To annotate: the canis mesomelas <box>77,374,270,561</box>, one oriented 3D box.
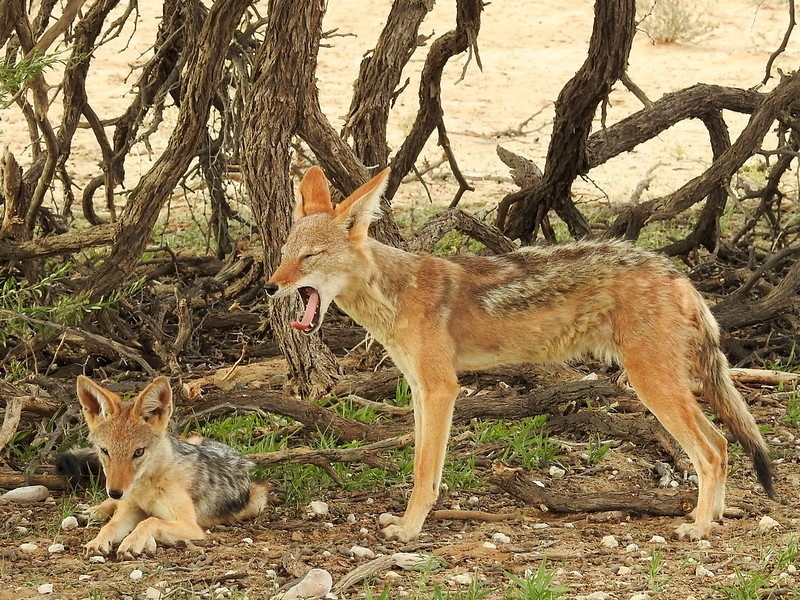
[{"bbox_3d":[-1.544,1.093,7.394,1.200,1.059,2.108,1,-3,9],"label":"canis mesomelas"}]
